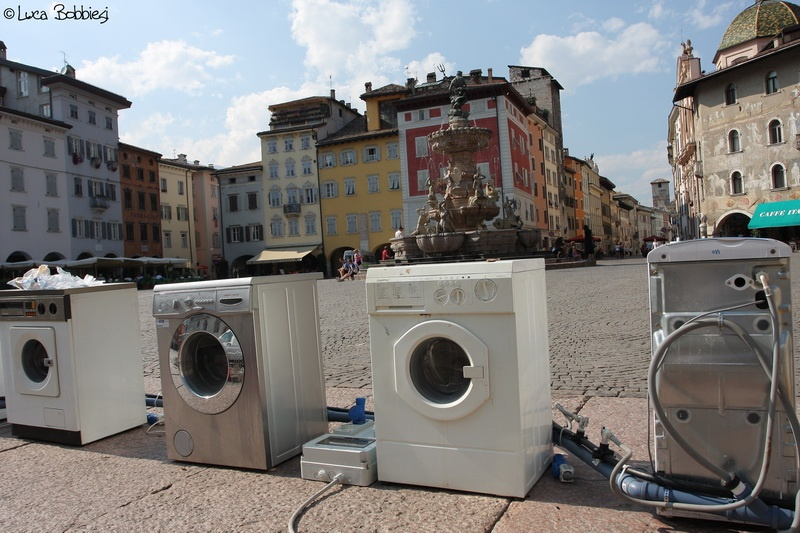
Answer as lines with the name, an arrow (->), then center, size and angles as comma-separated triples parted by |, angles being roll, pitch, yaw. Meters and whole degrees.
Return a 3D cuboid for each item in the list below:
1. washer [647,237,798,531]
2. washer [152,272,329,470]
washer -> 2.245, 0.796, 4.359 | 0.993, 1.947, 0.600 | 2, 15, 23
washer -> -1.414, 0.990, 6.356 | 1.483, 2.270, 1.728 | -2, -3, 22
